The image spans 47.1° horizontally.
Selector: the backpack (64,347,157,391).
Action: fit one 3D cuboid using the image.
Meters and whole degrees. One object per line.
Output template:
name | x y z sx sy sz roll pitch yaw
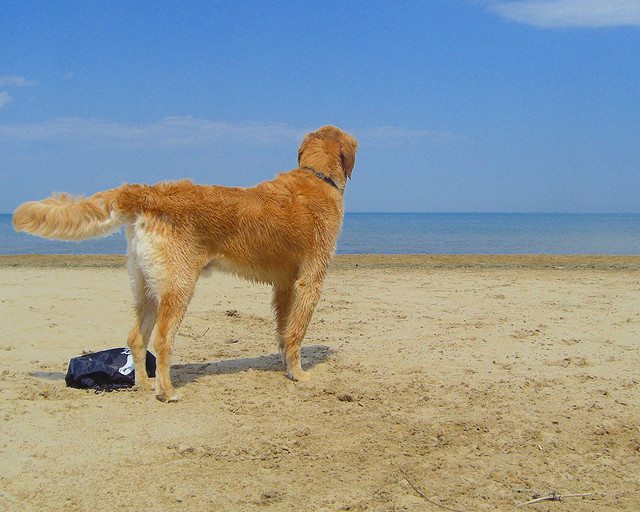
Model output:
backpack | -2.295 1.276 8.199 0.819 0.248 0.580 -1 6 -28
